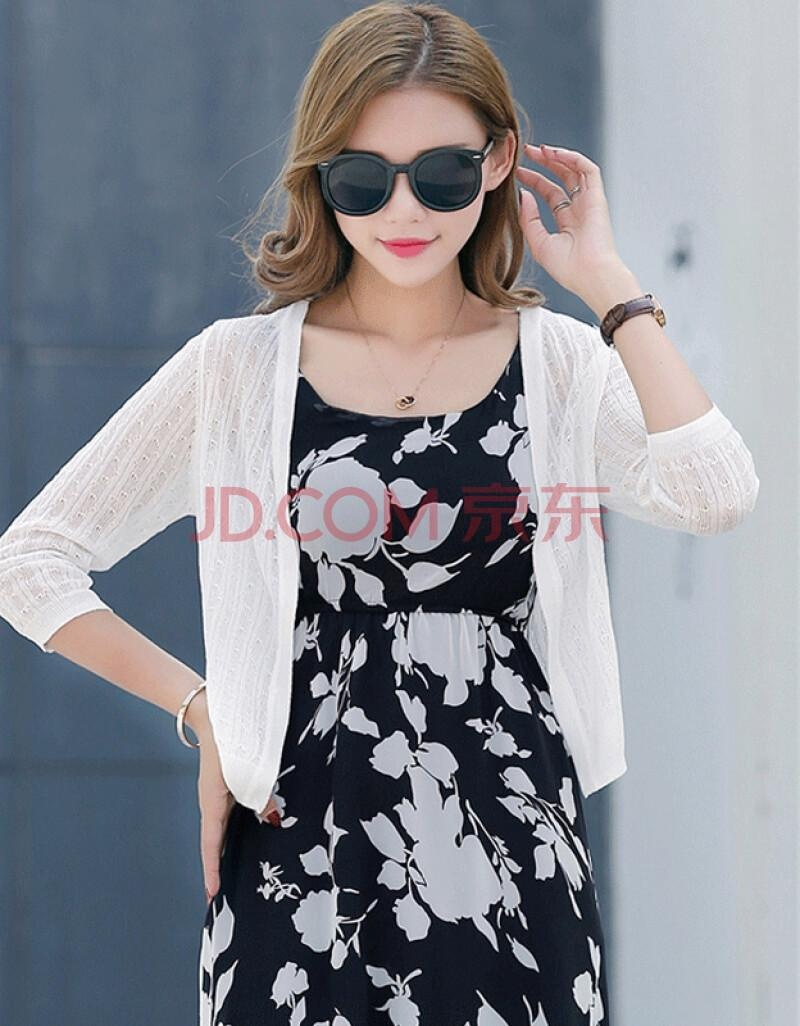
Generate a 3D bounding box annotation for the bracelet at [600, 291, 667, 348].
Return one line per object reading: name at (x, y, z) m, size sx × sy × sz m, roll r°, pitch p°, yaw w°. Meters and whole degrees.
bracelet at (0.340, -0.298, 2.142) m, size 0.105 × 0.059 × 0.101 m, roll -6°, pitch -16°, yaw -26°

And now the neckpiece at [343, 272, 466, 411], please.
neckpiece at (0.007, -0.258, 2.183) m, size 0.305 × 0.316 × 0.027 m, roll 2°, pitch -40°, yaw -2°

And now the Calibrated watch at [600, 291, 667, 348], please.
Calibrated watch at (0.334, -0.291, 2.140) m, size 0.105 × 0.059 × 0.101 m, roll -6°, pitch -16°, yaw -26°

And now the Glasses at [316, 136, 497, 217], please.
Glasses at (0.000, -0.483, 2.057) m, size 0.236 × 0.098 × 0.064 m, roll 0°, pitch -9°, yaw -2°
